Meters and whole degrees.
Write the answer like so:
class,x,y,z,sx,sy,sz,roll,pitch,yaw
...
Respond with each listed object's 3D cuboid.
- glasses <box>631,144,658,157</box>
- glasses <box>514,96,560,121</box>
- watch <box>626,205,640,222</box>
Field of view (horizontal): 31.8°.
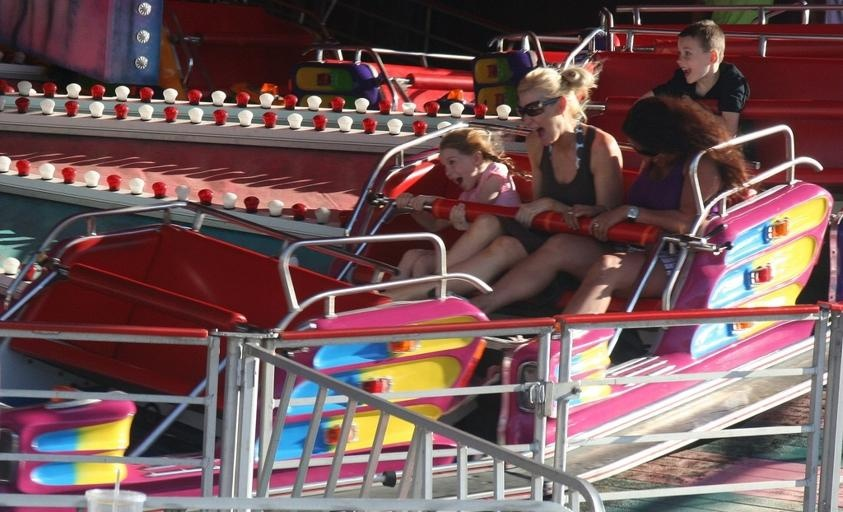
class,x,y,z,sx,sy,sz,roll,pitch,yaw
glasses,1.530,-0.721,10.210,0.146,0.037,0.093,7,12,-16
glasses,0.799,-1.021,10.293,0.218,0.045,0.193,-13,0,-34
watch,1.447,-0.289,10.153,0.097,0.081,0.098,5,-5,9
